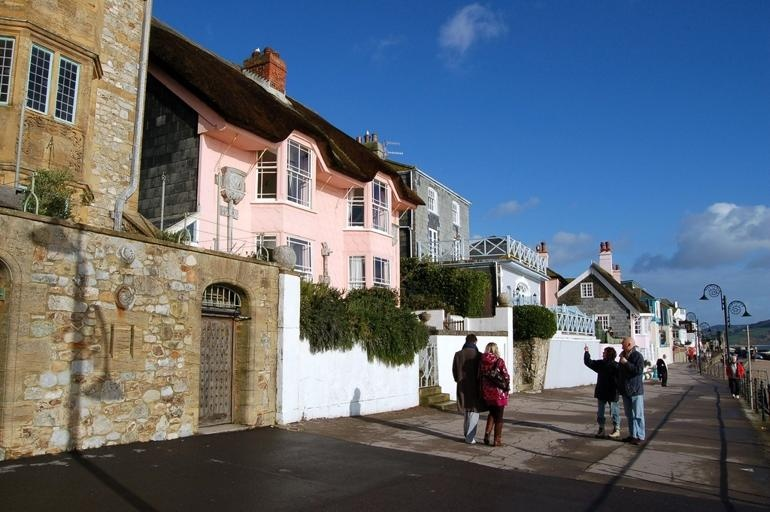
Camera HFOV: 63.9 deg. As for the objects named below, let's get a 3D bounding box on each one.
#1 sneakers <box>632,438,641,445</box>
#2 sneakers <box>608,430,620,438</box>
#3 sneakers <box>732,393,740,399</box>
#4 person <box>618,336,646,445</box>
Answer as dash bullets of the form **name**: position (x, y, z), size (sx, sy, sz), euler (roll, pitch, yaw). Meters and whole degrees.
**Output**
- **sneakers**: position (6.119, 4.476, 14.963), size (0.215, 0.097, 0.094), euler (-12, -12, 37)
- **sneakers**: position (5.889, 4.512, 15.804), size (0.140, 0.224, 0.439), euler (1, -6, 0)
- **sneakers**: position (15.183, 6.053, 26.654), size (0.278, 0.153, 0.391), euler (2, -7, -33)
- **person**: position (6.099, 3.250, 15.204), size (0.666, 2.541, 0.880), euler (1, -2, 21)
